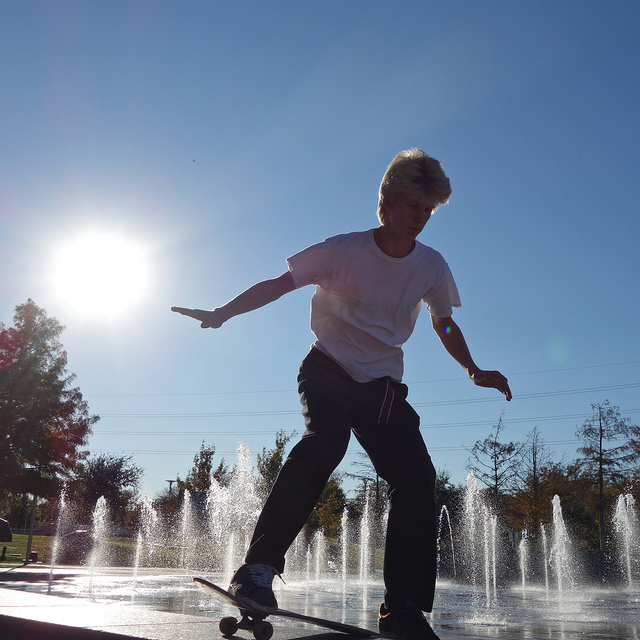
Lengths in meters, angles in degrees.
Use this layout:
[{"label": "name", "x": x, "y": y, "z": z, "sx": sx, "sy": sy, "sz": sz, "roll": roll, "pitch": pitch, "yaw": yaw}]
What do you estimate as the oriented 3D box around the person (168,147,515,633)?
[{"label": "person", "x": 0.186, "y": 0.252, "z": 2.941, "sx": 1.265, "sy": 2.160, "sz": 0.652, "roll": 7, "pitch": -19, "yaw": -13}]
